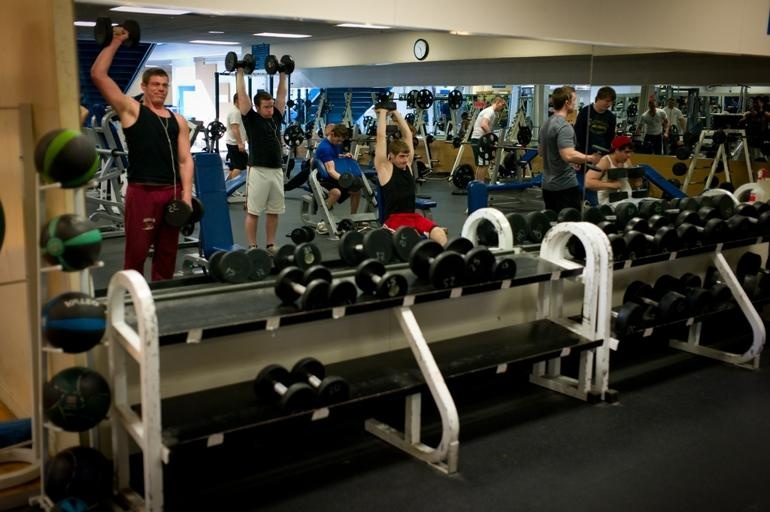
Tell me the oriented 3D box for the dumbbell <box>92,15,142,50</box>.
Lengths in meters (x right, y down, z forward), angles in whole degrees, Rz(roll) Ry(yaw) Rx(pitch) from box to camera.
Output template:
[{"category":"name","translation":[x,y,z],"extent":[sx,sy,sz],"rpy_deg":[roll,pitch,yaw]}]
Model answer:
[{"category":"dumbbell","translation":[-1.271,-1.068,2.965],"extent":[0.109,0.129,0.257],"rpy_deg":[5,16,22]}]

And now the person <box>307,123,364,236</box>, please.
[{"category":"person","translation":[-0.439,-0.742,6.092],"extent":[0.533,1.066,0.488],"rpy_deg":[-11,20,-37]}]

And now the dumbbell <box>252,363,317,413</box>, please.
[{"category":"dumbbell","translation":[-0.475,0.617,2.901],"extent":[0.243,0.155,0.216],"rpy_deg":[-7,16,-22]}]

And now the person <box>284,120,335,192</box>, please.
[{"category":"person","translation":[-0.695,-0.994,6.267],"extent":[0.458,0.763,0.471],"rpy_deg":[-13,23,-42]}]

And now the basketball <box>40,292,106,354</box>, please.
[{"category":"basketball","translation":[-1.354,0.303,2.682],"extent":[0.258,0.293,0.257],"rpy_deg":[-15,-14,37]}]

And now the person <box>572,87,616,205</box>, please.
[{"category":"person","translation":[1.563,-0.812,4.578],"extent":[0.288,0.807,0.224],"rpy_deg":[1,16,-2]}]

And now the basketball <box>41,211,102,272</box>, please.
[{"category":"basketball","translation":[-1.281,-0.054,2.523],"extent":[0.216,0.230,0.152],"rpy_deg":[-10,17,-29]}]

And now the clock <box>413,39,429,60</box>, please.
[{"category":"clock","translation":[0.219,-1.251,3.729],"extent":[0.096,0.116,0.083],"rpy_deg":[-1,14,2]}]

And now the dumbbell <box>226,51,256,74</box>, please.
[{"category":"dumbbell","translation":[-0.833,-1.117,3.570],"extent":[0.161,0.113,0.123],"rpy_deg":[-5,36,-38]}]

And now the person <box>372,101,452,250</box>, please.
[{"category":"person","translation":[0.152,-0.526,3.825],"extent":[0.298,0.857,0.631],"rpy_deg":[-6,13,-24]}]

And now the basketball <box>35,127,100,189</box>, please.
[{"category":"basketball","translation":[-1.251,-0.390,2.589],"extent":[0.236,0.235,0.272],"rpy_deg":[25,13,3]}]

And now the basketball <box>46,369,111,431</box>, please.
[{"category":"basketball","translation":[-1.323,0.625,2.695],"extent":[0.256,0.286,0.270],"rpy_deg":[3,-8,1]}]

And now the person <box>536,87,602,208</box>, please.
[{"category":"person","translation":[1.369,-0.571,4.610],"extent":[0.426,1.305,0.465],"rpy_deg":[-11,21,-19]}]

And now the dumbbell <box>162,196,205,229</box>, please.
[{"category":"dumbbell","translation":[-1.117,-0.240,3.491],"extent":[0.186,0.171,0.043],"rpy_deg":[-1,16,1]}]

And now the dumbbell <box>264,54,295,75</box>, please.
[{"category":"dumbbell","translation":[-0.622,-1.127,3.646],"extent":[0.173,0.127,0.114],"rpy_deg":[-14,21,-42]}]

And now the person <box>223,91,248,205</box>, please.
[{"category":"person","translation":[-1.209,-0.933,5.207],"extent":[0.276,0.887,0.327],"rpy_deg":[0,10,-19]}]
